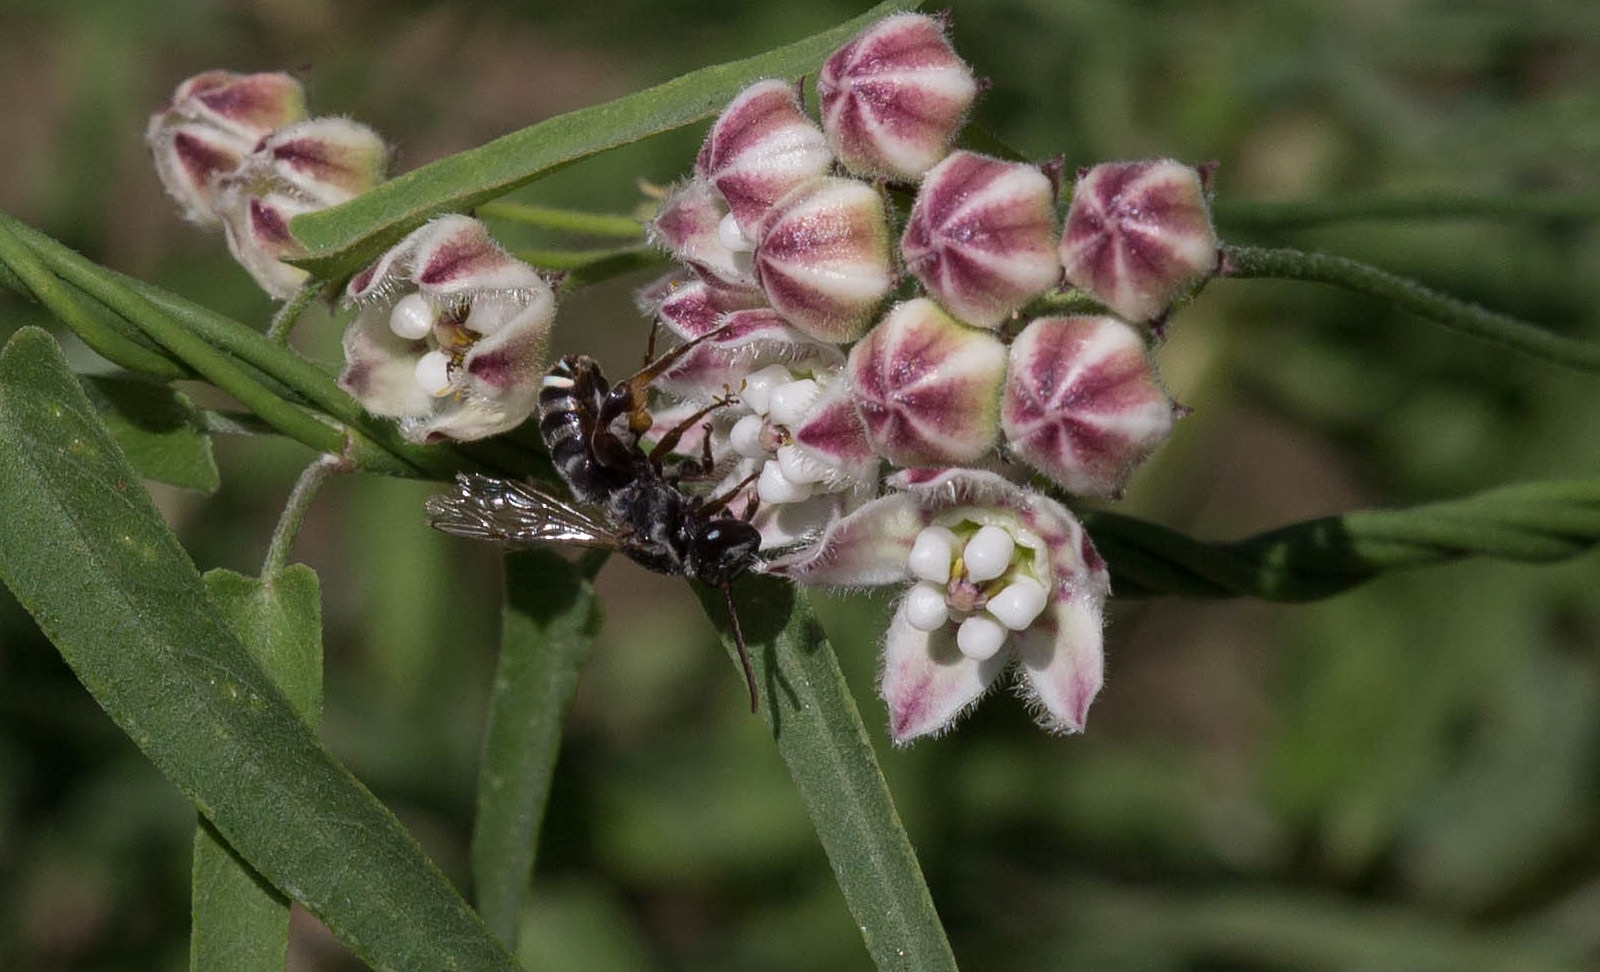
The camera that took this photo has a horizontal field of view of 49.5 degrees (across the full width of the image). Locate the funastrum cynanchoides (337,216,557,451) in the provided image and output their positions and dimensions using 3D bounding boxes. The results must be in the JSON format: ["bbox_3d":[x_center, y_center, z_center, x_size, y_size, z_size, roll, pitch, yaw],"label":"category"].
[{"bbox_3d":[-0.886,-0.392,4.357,0.529,0.568,0.183,-4,6,-1],"label":"funastrum cynanchoides"}]

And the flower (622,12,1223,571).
[{"bbox_3d":[0.304,-0.511,4.243,1.398,1.297,0.371,-2,6,21],"label":"flower"}]

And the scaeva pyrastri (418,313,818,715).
[{"bbox_3d":[-0.489,0.088,4.789,0.954,0.377,0.766,20,36,-6],"label":"scaeva pyrastri"}]

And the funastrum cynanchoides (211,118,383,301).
[{"bbox_3d":[-1.309,-0.727,4.544,0.466,0.472,0.241,-5,6,-10],"label":"funastrum cynanchoides"}]
